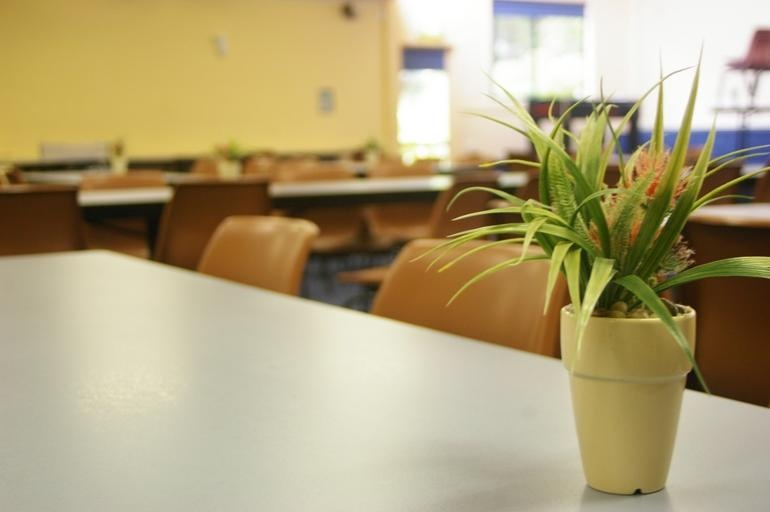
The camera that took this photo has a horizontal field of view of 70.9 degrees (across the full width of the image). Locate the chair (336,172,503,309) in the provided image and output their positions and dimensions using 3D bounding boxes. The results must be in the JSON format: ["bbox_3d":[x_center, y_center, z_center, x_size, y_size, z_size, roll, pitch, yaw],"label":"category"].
[{"bbox_3d":[0.139,-0.130,2.176,0.555,0.783,0.516,6,8,35],"label":"chair"}]

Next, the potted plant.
[{"bbox_3d":[0.173,0.018,0.479,0.279,0.283,0.274,-3,3,-27],"label":"potted plant"}]

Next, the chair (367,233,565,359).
[{"bbox_3d":[0.147,0.035,0.962,0.216,0.325,0.237,8,-2,23],"label":"chair"}]
